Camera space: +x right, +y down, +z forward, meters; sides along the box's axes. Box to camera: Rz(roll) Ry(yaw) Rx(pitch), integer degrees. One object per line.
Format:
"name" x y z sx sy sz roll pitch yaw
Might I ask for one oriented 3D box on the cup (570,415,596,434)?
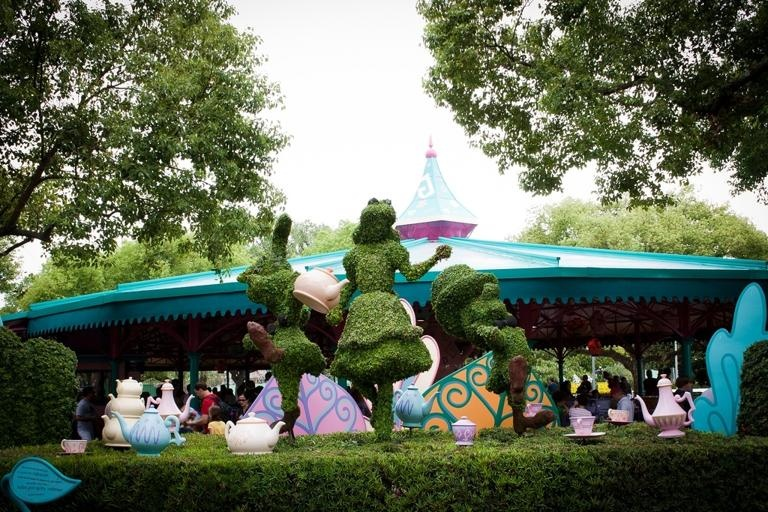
"cup" 3.045 2.576 10.894 0.332 0.280 0.210 -1 -10 6

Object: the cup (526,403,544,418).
"cup" 2.641 2.679 12.530 0.377 0.273 0.249 -2 -4 7

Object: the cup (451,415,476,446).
"cup" 1.260 2.709 11.055 0.364 0.371 0.378 0 -12 0

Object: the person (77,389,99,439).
"person" -6.136 3.206 14.659 0.405 1.070 1.543 4 -11 -23

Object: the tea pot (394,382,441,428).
"tea pot" 0.489 2.580 12.469 0.821 0.726 0.585 0 -7 35

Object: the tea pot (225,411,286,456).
"tea pot" -2.011 2.711 10.803 0.708 0.465 0.516 0 -16 11

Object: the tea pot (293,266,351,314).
"tea pot" -0.962 0.499 11.905 0.461 0.440 0.636 16 13 40

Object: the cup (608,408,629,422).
"cup" 4.125 2.780 12.509 0.274 0.202 0.229 -3 -8 27

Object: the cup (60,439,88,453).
"cup" -4.921 3.007 11.318 0.348 0.207 0.549 8 -13 -38

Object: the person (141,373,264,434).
"person" -3.561 2.892 13.801 2.463 1.081 0.915 -12 -13 41
